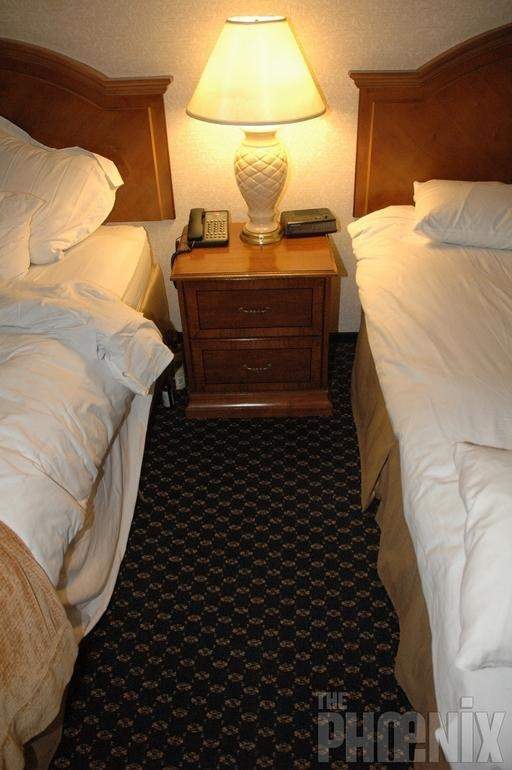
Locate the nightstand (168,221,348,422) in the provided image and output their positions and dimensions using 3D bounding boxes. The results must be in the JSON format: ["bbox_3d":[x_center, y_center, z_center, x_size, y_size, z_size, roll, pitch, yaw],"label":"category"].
[{"bbox_3d":[0.003,-0.269,2.270,0.593,0.610,0.515,-2,36,-1],"label":"nightstand"}]

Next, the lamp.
[{"bbox_3d":[0.019,-0.865,1.998,0.419,0.692,0.429,-24,38,-30],"label":"lamp"}]
